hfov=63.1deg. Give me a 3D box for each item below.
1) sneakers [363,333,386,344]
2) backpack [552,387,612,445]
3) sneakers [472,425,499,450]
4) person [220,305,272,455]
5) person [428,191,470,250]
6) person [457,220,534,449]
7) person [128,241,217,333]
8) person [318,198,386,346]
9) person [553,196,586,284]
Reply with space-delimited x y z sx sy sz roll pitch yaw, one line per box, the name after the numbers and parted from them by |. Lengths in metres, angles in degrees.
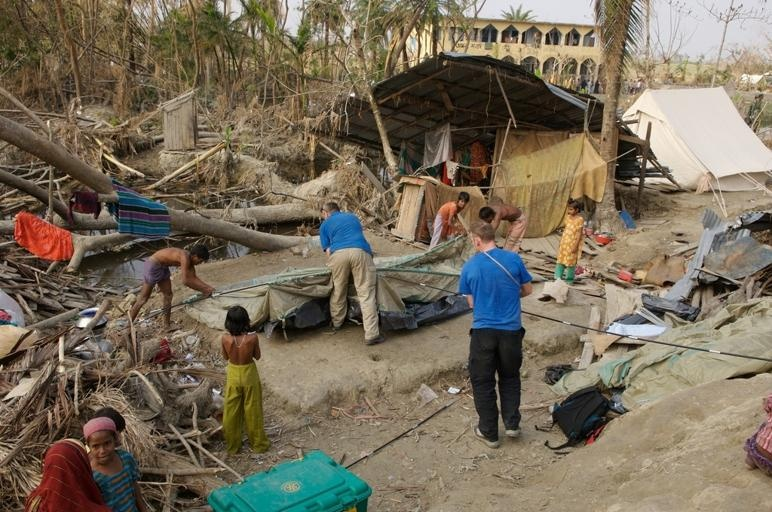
-0.169 1.243 9.294 0.306 0.139 0.115 -17 27 -29 | sneakers
2.487 1.957 7.997 0.795 0.264 0.553 -27 21 -14 | backpack
1.242 2.251 7.780 0.162 0.128 0.316 -13 35 -29 | sneakers
-1.756 1.516 7.665 0.514 1.819 0.285 -5 13 -16 | person
1.225 -0.684 12.237 0.752 1.451 0.416 11 52 7 | person
1.329 1.104 7.713 0.827 2.391 0.543 0 12 6 | person
-3.344 0.427 9.783 1.231 1.283 1.101 -4 12 -17 | person
-0.517 0.232 9.449 0.585 2.052 1.040 -12 16 -41 | person
3.213 -0.221 10.996 0.427 1.552 0.798 2 12 15 | person
